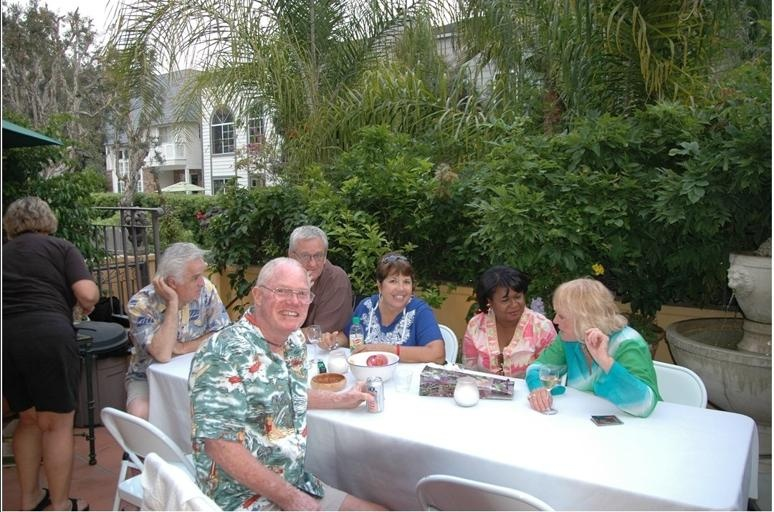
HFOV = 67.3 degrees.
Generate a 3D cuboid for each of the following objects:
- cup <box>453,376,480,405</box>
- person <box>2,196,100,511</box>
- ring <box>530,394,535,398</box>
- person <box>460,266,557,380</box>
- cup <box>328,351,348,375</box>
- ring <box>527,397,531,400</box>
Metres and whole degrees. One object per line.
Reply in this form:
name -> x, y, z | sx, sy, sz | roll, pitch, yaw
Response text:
cup -> 0.487, 0.828, 3.585 | 0.140, 0.146, 0.146 | 0, -2, 0
person -> -2.424, 0.832, 4.222 | 0.614, 1.895, 0.372 | -3, 2, -28
ring -> 0.874, 0.844, 3.497 | 0.020, 0.019, 0.005 | -9, -9, 41
person -> 0.904, 0.563, 4.252 | 0.656, 0.914, 0.439 | 4, 17, 34
cup -> -0.333, 0.720, 4.003 | 0.144, 0.151, 0.114 | 1, -9, -1
ring -> 0.855, 0.858, 3.503 | 0.014, 0.015, 0.015 | 2, -8, 0
